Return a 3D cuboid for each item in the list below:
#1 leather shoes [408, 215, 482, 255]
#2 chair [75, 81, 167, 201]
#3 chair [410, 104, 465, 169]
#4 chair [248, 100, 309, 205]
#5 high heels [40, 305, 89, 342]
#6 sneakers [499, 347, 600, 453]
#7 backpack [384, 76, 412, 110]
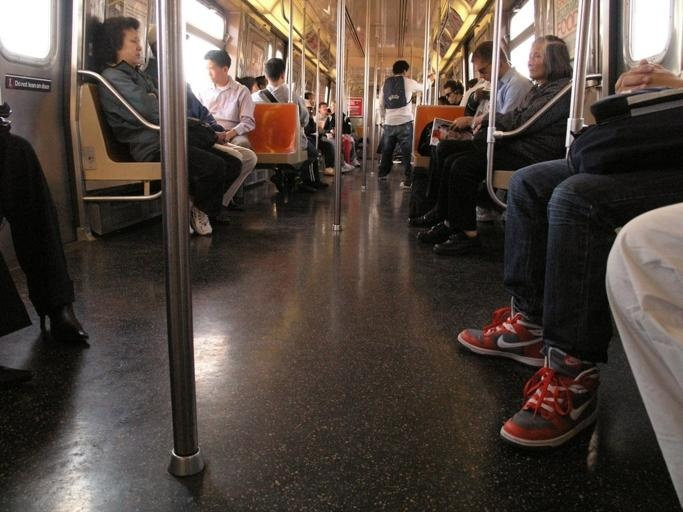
[{"bbox_3d":[0.703,-0.126,3.586,0.477,0.229,0.180,7,25,1],"label":"leather shoes"},{"bbox_3d":[-1.496,-0.787,3.443,0.504,0.932,0.948,0,12,-10],"label":"chair"},{"bbox_3d":[1.024,-1.433,5.952,0.737,0.864,0.515,1,17,4],"label":"chair"},{"bbox_3d":[-0.661,-1.274,6.267,0.761,1.026,0.973,10,10,35],"label":"chair"},{"bbox_3d":[-1.065,0.239,1.984,0.266,0.123,0.086,13,3,31],"label":"high heels"},{"bbox_3d":[0.569,0.387,1.420,0.179,0.209,0.312,14,21,43],"label":"sneakers"},{"bbox_3d":[0.878,-2.594,8.228,0.420,0.556,0.291,-1,-3,38],"label":"backpack"}]
